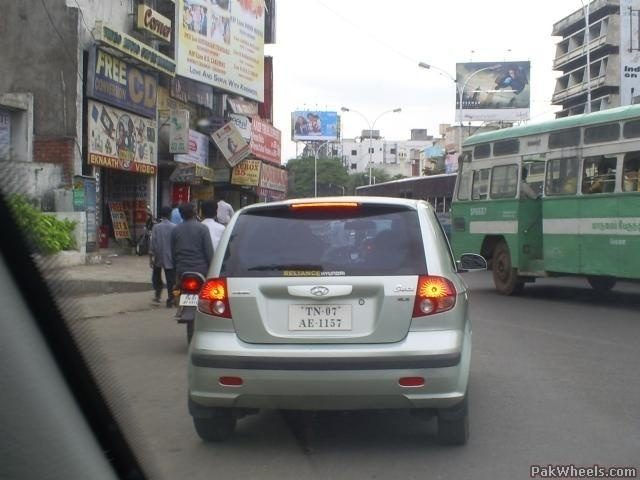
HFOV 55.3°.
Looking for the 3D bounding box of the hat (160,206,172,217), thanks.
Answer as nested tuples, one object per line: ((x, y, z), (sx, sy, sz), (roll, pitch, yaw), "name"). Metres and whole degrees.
((-2.949, -0.516, 11.807), (0.157, 0.221, 0.214), (2, -33, -5), "hat")

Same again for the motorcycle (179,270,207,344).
((-1.308, 0.650, 6.323), (0.264, 1.019, 0.350), (2, 6, -2), "motorcycle")
